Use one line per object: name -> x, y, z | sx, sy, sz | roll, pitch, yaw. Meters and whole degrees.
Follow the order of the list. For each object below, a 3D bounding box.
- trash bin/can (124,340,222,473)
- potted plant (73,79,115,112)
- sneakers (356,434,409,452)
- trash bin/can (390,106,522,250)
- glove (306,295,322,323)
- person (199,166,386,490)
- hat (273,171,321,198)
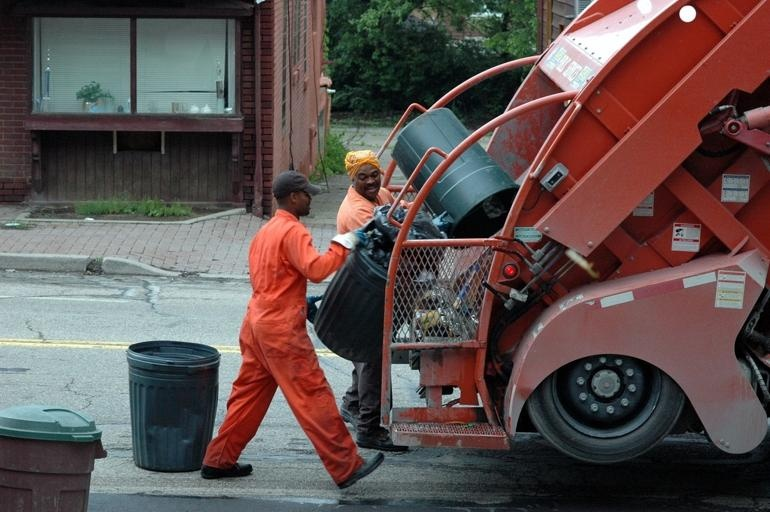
trash bin/can -> -1.832, 1.306, 8.262 | 0.886, 1.119, 0.998 | 5, 5, 24
potted plant -> -5.439, -3.001, 17.467 | 0.514, 0.523, 0.556 | 2, 9, -9
sneakers -> -0.029, 1.740, 8.784 | 0.478, 0.223, 0.189 | 0, 1, 2
trash bin/can -> 0.664, -0.694, 8.670 | 0.824, 0.829, 1.306 | 31, 21, -53
glove -> -0.720, 0.473, 9.025 | 0.146, 0.276, 0.095 | 14, 13, -39
person -> -0.850, 0.820, 7.975 | 1.360, 2.253, 0.490 | 3, 13, 6
hat -> -0.793, -0.603, 8.103 | 0.323, 0.195, 0.224 | -13, 14, -10
